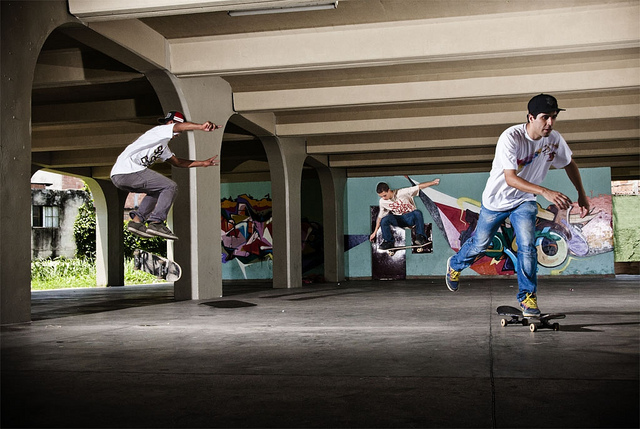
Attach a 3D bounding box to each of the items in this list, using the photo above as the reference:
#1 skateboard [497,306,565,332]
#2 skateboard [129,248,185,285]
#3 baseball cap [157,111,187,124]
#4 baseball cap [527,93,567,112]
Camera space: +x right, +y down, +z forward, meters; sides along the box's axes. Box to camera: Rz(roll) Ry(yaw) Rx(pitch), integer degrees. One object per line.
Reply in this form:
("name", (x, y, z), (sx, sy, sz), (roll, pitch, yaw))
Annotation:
("skateboard", (2.177, 1.099, 6.714), (0.265, 0.152, 0.864), (0, -3, -27))
("skateboard", (-2.358, 0.724, 9.041), (0.959, 0.288, 0.162), (18, 4, 28))
("baseball cap", (-1.937, -1.342, 8.417), (0.408, 0.216, 0.239), (-1, -4, 1))
("baseball cap", (2.298, -1.180, 6.566), (0.200, 0.159, 0.298), (-3, 3, -39))
